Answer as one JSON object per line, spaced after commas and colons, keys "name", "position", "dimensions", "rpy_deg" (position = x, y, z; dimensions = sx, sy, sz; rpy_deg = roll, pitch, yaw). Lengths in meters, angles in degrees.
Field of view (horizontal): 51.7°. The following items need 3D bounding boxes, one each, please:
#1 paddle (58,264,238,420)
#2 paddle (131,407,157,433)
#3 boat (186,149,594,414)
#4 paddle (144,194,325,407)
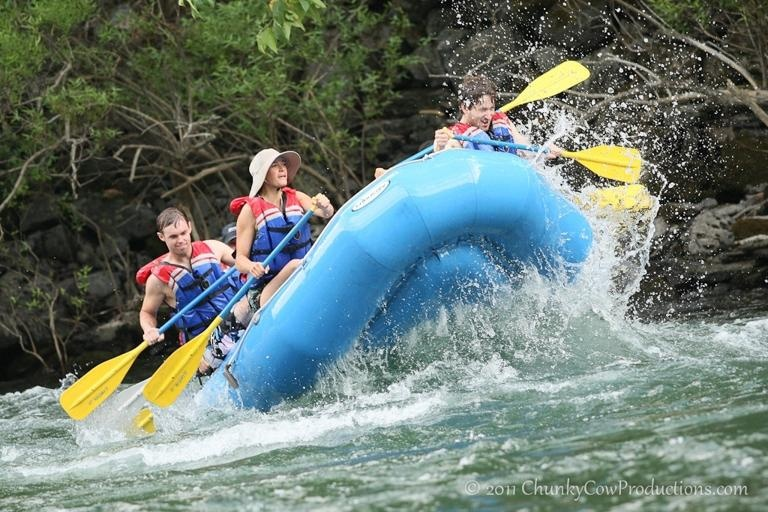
{"name": "paddle", "position": [-2.389, 0.901, 7.943], "dimensions": [2.306, 0.331, 0.173], "rpy_deg": [-42, 12, -27]}
{"name": "paddle", "position": [-2.065, 1.393, 6.866], "dimensions": [0.264, 0.134, 0.051], "rpy_deg": [-64, 18, -11]}
{"name": "boat", "position": [-0.133, -0.192, 6.823], "dimensions": [2.758, 0.850, 1.653], "rpy_deg": [-34, -34, 8]}
{"name": "paddle", "position": [-1.313, 0.465, 6.998], "dimensions": [2.780, 0.367, 0.109], "rpy_deg": [-52, -4, -15]}
